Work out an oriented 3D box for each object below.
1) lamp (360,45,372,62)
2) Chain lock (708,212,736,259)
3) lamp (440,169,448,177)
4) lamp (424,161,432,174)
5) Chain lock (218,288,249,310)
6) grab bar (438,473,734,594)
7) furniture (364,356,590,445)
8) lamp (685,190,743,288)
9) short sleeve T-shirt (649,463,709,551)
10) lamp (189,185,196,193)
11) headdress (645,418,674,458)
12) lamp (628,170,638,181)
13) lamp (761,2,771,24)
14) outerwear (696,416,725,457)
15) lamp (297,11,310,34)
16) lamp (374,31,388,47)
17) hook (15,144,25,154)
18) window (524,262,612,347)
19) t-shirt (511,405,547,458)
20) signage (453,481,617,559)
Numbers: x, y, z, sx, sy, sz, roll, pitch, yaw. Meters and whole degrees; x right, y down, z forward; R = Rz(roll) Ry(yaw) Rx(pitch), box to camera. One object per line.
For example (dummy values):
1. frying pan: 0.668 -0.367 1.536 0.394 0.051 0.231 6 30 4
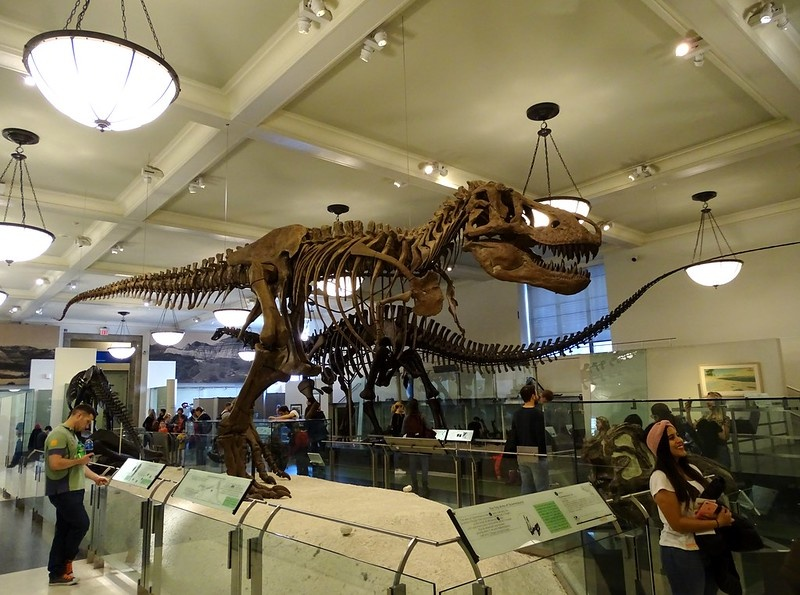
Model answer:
1. lamp: -0.319 -2.289 5.088 0.116 0.151 0.219 2 -11 -7
2. Chain lock: 5.737 -1.094 9.753 0.286 0.755 0.299 -24 -1 -24
3. lamp: 0.589 -1.697 7.359 0.102 0.041 0.137 1 -9 -4
4. lamp: 0.384 -1.727 7.278 0.127 0.084 0.215 0 -11 2
5. Chain lock: -3.640 0.044 11.898 0.414 0.443 0.422 -4 -13 18
6. grab bar: 0.688 1.232 2.757 1.220 0.419 0.056 -2 -31 -37
7. furniture: 1.316 1.974 8.801 3.291 1.883 1.060 -4 -8 12
8. lamp: 4.549 -0.880 7.934 0.754 1.331 0.719 -6 -8 22
9. short sleeve T-shirt: 1.705 1.292 3.299 0.568 0.508 0.301 9 -12 -43
10. lamp: -2.918 -1.541 7.591 0.094 0.114 0.124 7 -21 -22
11. headdress: 1.644 0.901 3.442 0.129 0.216 0.160 -4 -12 23
12. lamp: 3.301 -1.719 7.706 0.119 0.123 0.123 -38 -32 -18
13. lamp: 3.143 -2.443 4.645 0.098 0.132 0.134 -7 -13 34
14. outerwear: 2.849 1.298 4.980 0.084 0.314 0.226 0 -2 -34
15. lamp: -0.844 -2.382 4.709 0.142 0.144 0.140 0 -2 -15
16. lamp: -0.192 -2.370 4.963 0.115 0.122 0.105 -4 -12 21
17. hook: -4.723 -1.829 6.700 0.096 0.130 0.036 -3 23 4
18. window: 2.954 0.190 9.189 1.820 1.967 0.098 -6 -12 38
19. t-shirt: 1.293 1.376 5.426 0.196 0.476 0.370 11 -14 -43
20. signage: 0.717 1.178 2.863 1.143 0.292 0.112 8 -13 -33
